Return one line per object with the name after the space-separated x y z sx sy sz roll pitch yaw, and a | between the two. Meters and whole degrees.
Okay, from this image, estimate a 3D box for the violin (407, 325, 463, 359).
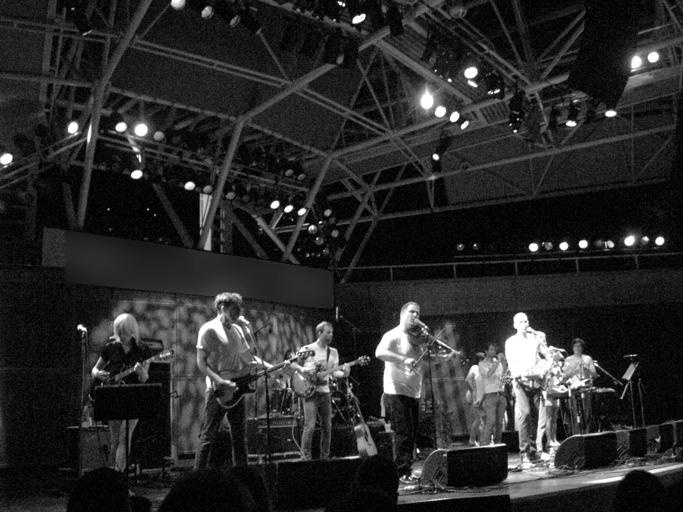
1.200 1.121 8.354 0.559 0.429 0.190 22 20 9 | violin

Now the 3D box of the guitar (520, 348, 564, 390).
2.912 1.577 9.357 0.527 0.254 0.742 35 -61 -28 | guitar

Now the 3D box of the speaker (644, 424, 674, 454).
4.885 2.806 9.874 0.260 0.450 0.993 -15 -20 41 | speaker

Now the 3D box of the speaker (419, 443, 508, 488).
1.503 2.515 7.603 0.740 0.375 0.563 1 -17 -13 | speaker

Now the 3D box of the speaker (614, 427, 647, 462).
4.152 2.722 9.217 0.472 0.436 0.262 4 -8 -28 | speaker

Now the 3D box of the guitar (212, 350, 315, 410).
-0.949 1.535 7.921 0.553 0.698 1.273 -12 -18 33 | guitar

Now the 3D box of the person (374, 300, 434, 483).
0.796 1.701 8.211 0.641 2.299 0.609 -2 -14 -2 | person

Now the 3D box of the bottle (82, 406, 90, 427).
-4.028 2.527 10.149 0.129 0.308 0.381 3 -16 -21 | bottle
